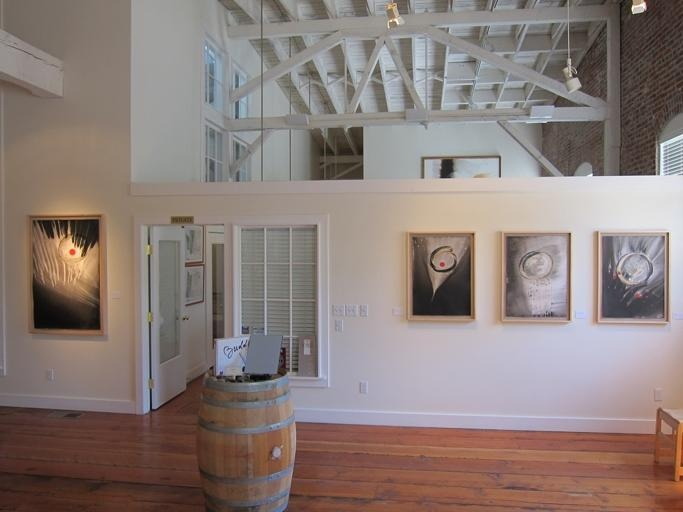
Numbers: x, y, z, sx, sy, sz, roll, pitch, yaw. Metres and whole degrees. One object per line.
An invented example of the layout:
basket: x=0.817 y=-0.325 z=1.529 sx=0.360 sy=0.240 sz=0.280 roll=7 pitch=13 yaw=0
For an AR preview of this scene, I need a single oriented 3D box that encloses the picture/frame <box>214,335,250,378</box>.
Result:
picture/frame: x=-1.080 y=1.009 z=5.524 sx=0.114 sy=0.327 sz=0.361 roll=-9 pitch=-9 yaw=37
